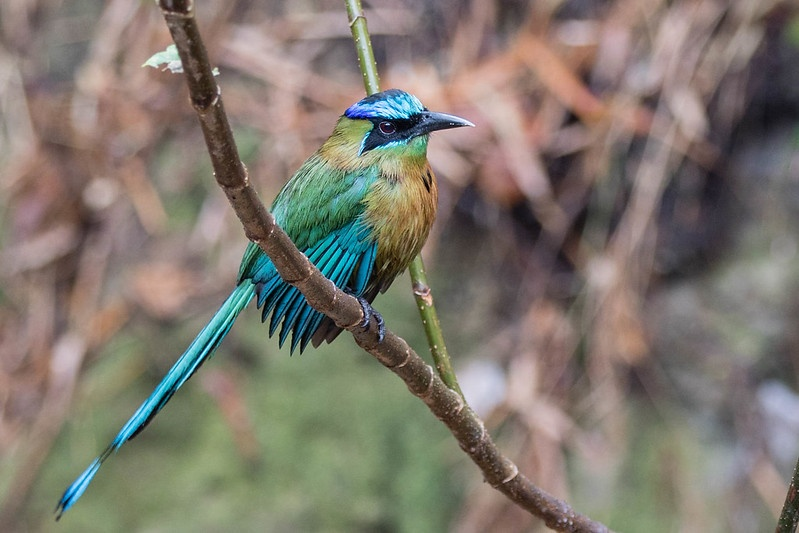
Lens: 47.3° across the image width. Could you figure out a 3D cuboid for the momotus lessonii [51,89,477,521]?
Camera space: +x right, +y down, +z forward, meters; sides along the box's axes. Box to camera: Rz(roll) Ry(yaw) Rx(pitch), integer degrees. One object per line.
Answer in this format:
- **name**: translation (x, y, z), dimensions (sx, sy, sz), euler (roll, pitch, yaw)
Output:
- **momotus lessonii**: translation (-0.707, 0.037, 4.962), dimensions (2.248, 1.553, 0.720), euler (-12, -1, 4)
